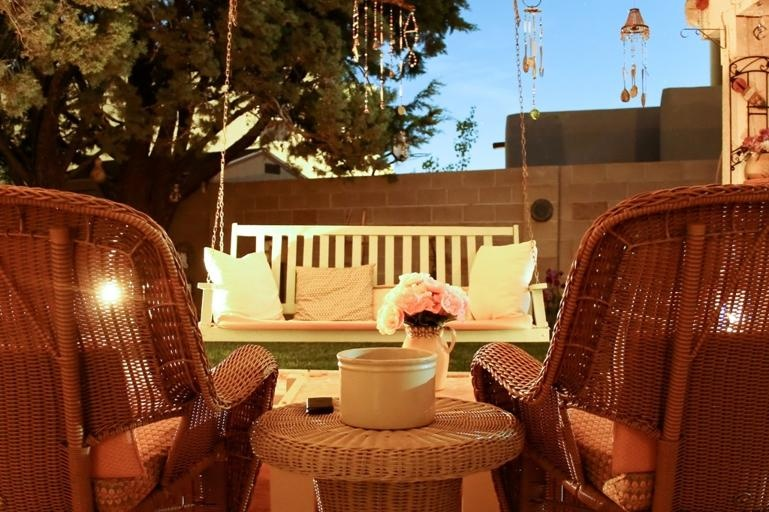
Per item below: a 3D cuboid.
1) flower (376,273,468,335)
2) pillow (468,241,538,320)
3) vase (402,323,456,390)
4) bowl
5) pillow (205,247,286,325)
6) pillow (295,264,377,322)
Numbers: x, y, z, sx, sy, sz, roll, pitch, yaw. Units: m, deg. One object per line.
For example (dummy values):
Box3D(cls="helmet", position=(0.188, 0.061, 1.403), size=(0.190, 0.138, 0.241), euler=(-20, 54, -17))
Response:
Box3D(cls="flower", position=(0.153, 0.193, 3.384), size=(0.238, 0.182, 0.257), euler=(-6, -12, 13))
Box3D(cls="pillow", position=(0.640, 0.145, 4.733), size=(0.351, 0.462, 0.207), euler=(0, -33, 26))
Box3D(cls="vase", position=(0.177, 0.379, 3.357), size=(0.199, 0.228, 0.154), euler=(-6, 0, -17))
Box3D(cls="bowl", position=(0.011, 0.408, 2.686), size=(0.232, 0.162, 0.248), euler=(1, -3, 0))
Box3D(cls="pillow", position=(-0.757, 0.172, 4.815), size=(0.167, 0.411, 0.459), euler=(-4, -2, 41))
Box3D(cls="pillow", position=(-0.293, 0.235, 5.107), size=(0.460, 0.364, 0.169), euler=(0, -10, -2))
